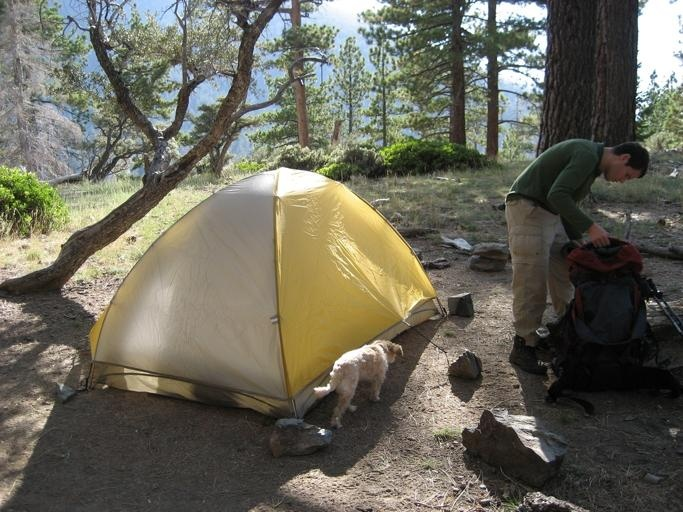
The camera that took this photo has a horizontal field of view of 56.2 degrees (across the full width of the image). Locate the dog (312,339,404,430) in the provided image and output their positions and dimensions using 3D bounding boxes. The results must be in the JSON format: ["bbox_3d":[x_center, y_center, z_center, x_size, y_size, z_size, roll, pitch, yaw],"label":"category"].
[{"bbox_3d":[0.157,1.445,7.086,1.030,0.638,0.309,-30,32,-27],"label":"dog"}]
